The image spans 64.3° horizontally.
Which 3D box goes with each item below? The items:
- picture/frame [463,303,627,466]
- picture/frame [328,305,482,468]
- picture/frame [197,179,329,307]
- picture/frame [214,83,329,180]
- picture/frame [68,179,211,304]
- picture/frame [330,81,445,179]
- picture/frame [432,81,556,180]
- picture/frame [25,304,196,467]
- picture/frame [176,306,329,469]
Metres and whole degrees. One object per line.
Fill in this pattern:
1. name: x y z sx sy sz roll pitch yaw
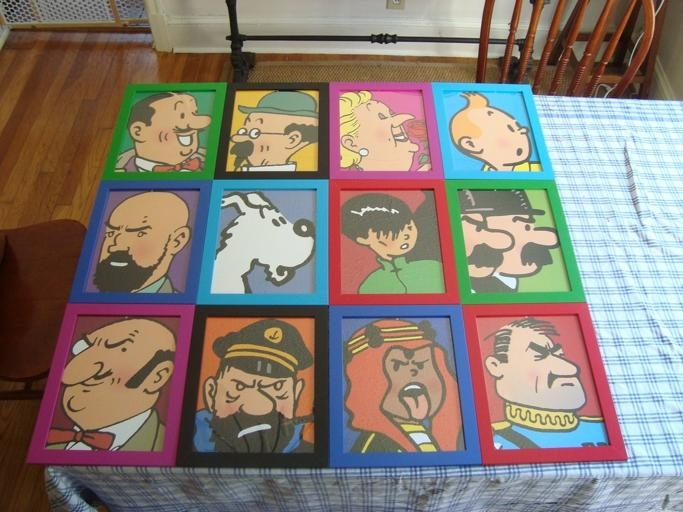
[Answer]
1. picture/frame: 0.501 0.338 1.372 0.472 0.021 0.491 1 59 -6
2. picture/frame: 0.160 0.344 1.364 0.434 0.029 0.435 0 61 -3
3. picture/frame: -0.219 -0.022 1.523 0.415 0.020 0.416 2 61 -2
4. picture/frame: -0.216 -0.375 1.684 0.406 0.025 0.386 1 58 0
5. picture/frame: -0.553 -0.035 1.537 0.483 0.034 0.488 0 60 -3
6. picture/frame: 0.142 -0.380 1.688 0.438 0.018 0.412 0 54 -3
7. picture/frame: 0.464 -0.384 1.699 0.431 0.017 0.410 2 57 -7
8. picture/frame: -0.571 0.317 1.381 0.355 0.161 0.375 1 45 2
9. picture/frame: -0.223 0.346 1.364 0.419 0.032 0.435 2 64 -3
